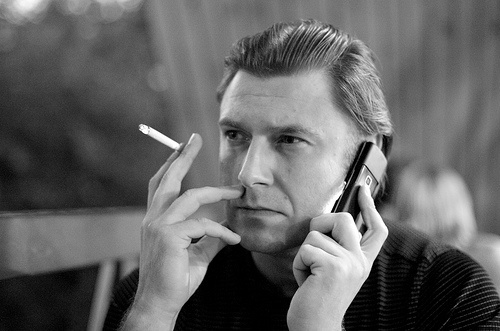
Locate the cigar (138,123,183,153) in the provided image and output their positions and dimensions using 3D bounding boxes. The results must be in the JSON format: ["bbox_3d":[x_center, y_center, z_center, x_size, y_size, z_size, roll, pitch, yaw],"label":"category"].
[{"bbox_3d":[-0.300,-0.091,1.726,0.031,0.217,0.035,-49,56,7],"label":"cigar"}]
